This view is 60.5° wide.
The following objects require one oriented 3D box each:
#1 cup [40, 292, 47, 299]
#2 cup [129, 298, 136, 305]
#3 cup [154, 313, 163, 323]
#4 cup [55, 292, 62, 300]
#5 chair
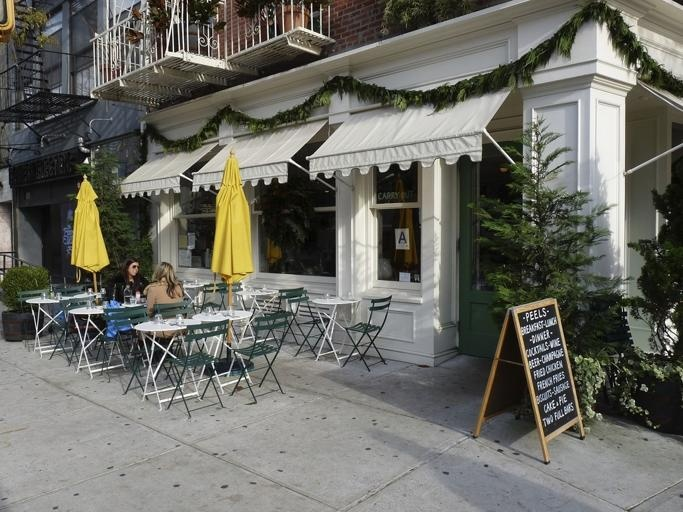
[{"bbox_3d":[-5.690,0.767,11.172,0.090,0.177,0.091,-3,-4,0],"label":"cup"},{"bbox_3d":[-3.697,0.810,10.315,0.095,0.117,0.122,-1,-4,34],"label":"cup"},{"bbox_3d":[-2.694,0.922,8.617,0.094,0.133,0.133,-1,-4,11],"label":"cup"},{"bbox_3d":[-5.379,0.772,11.094,0.088,0.176,0.091,0,2,0],"label":"cup"},{"bbox_3d":[-2.343,1.332,9.507,3.783,1.537,2.664,7,12,42],"label":"chair"}]
